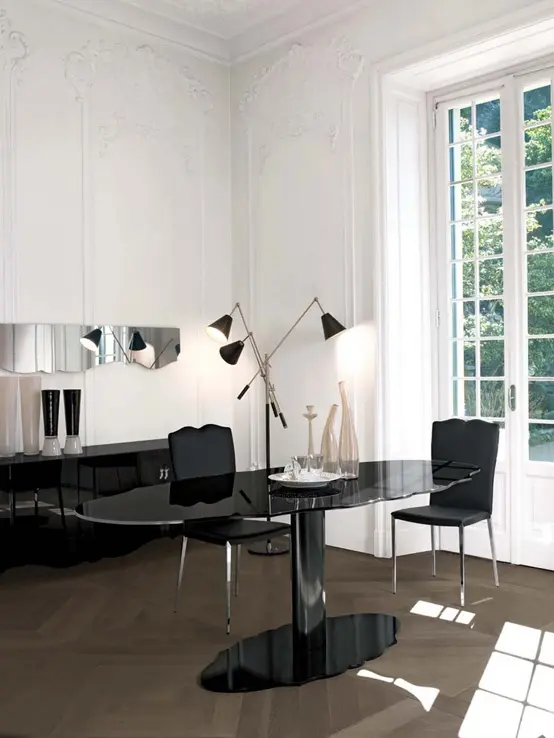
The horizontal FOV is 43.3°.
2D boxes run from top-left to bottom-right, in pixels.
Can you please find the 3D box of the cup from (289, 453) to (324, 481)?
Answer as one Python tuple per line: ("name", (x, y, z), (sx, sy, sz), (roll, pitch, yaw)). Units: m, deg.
("cup", (0.117, 0.395, 2.760), (0.106, 0.087, 0.085), (2, -3, -30))
